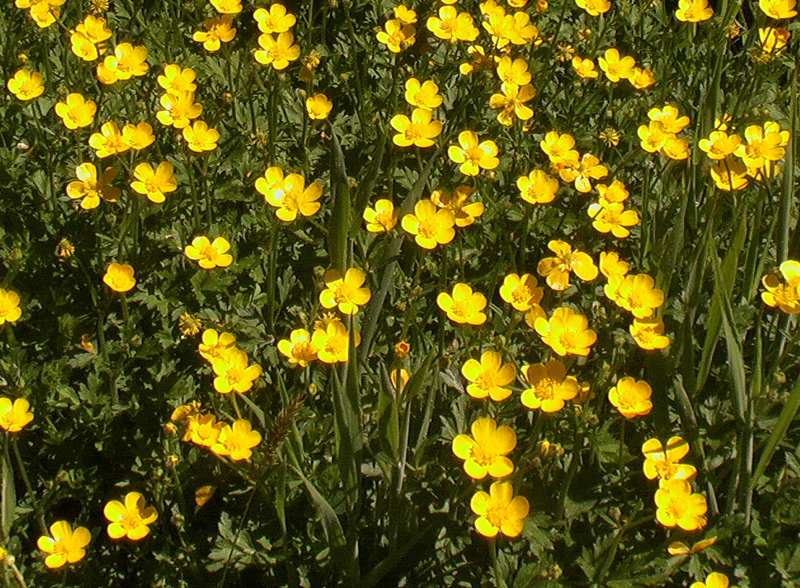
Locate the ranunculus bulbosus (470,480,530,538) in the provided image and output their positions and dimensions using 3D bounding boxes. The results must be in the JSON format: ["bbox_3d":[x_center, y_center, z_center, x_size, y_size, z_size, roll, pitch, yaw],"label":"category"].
[{"bbox_3d":[0.311,0.686,2.359,0.165,0.189,0.068,13,-42,12],"label":"ranunculus bulbosus"}]

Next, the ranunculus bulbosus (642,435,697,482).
[{"bbox_3d":[0.918,0.562,2.567,0.135,0.147,0.172,-6,-10,36],"label":"ranunculus bulbosus"}]
